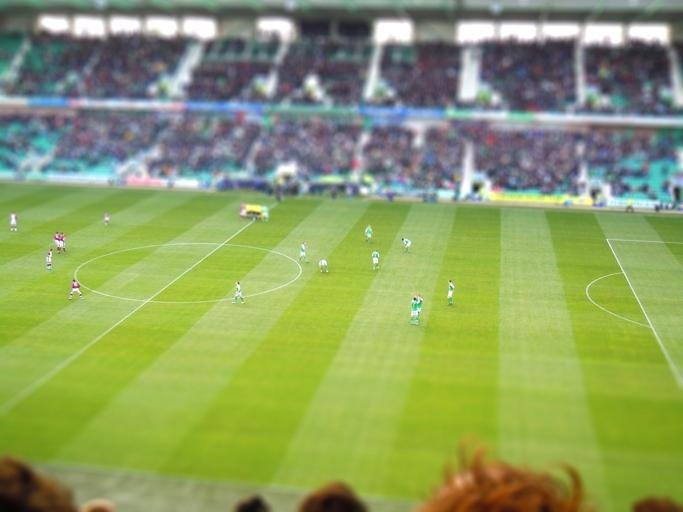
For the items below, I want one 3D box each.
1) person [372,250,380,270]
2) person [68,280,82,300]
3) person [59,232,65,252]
[{"bbox_3d":[2.437,0.274,42.658,0.463,1.201,1.177,3,-26,2],"label":"person"},{"bbox_3d":[-16.425,1.825,36.694,0.694,1.052,1.755,-7,18,-23],"label":"person"},{"bbox_3d":[-21.172,-1.182,45.157,0.362,1.280,1.796,-7,18,-23],"label":"person"}]
